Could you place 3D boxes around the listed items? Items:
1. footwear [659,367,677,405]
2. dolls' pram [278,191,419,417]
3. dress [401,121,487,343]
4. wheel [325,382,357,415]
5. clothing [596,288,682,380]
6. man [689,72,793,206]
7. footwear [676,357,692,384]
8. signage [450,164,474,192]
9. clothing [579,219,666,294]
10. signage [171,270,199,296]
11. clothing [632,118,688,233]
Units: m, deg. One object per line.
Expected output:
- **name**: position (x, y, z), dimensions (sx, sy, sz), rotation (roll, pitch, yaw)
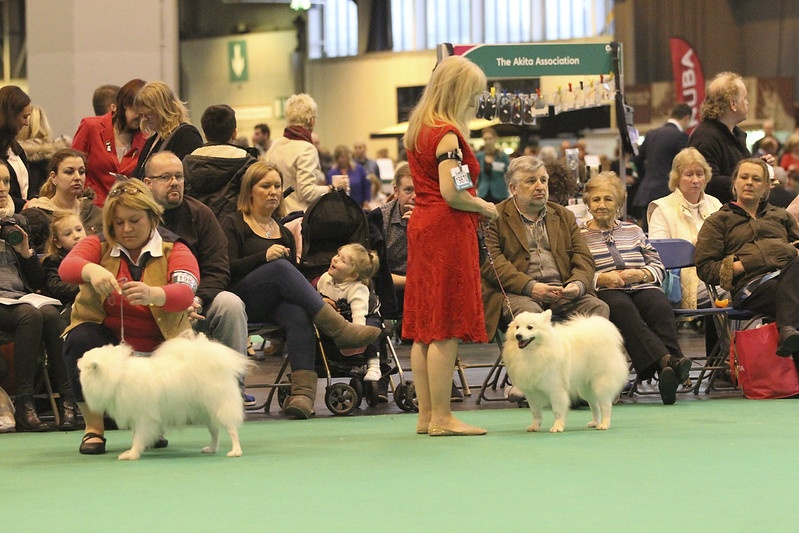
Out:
- **footwear**: position (2.060, 0.922, 7.362), dimensions (0.109, 0.340, 0.132), rotation (0, 18, 6)
- **dolls' pram**: position (-0.417, 0.294, 7.552), dimensions (1.115, 1.498, 1.247), rotation (3, 21, -13)
- **dress**: position (0.278, -0.221, 6.546), dimensions (0.503, 1.906, 0.603), rotation (-19, 34, -31)
- **wheel**: position (-0.438, 1.019, 7.334), dimensions (0.281, 0.296, 0.102), rotation (5, 8, 18)
- **clothing**: position (1.953, 0.463, 7.572), dimensions (0.577, 0.737, 0.196), rotation (7, -33, -13)
- **man**: position (3.202, -1.094, 9.123), dimensions (0.792, 1.560, 0.882), rotation (-1, 9, 45)
- **footwear**: position (2.214, 0.804, 7.422), dimensions (0.098, 0.120, 0.304), rotation (-5, -40, 5)
- **signage**: position (0.404, -0.583, 6.263), dimensions (0.165, 0.192, 0.029), rotation (-9, -14, -21)
- **clothing**: position (1.816, -0.039, 7.975), dimensions (0.726, 0.692, 0.404), rotation (-9, -10, 2)
- **signage**: position (-1.374, 0.104, 6.113), dimensions (0.139, 0.104, 0.142), rotation (0, 2, -7)
- **clothing**: position (3.647, -1.223, 13.128), dimensions (0.798, 1.934, 0.745), rotation (8, 8, 30)
